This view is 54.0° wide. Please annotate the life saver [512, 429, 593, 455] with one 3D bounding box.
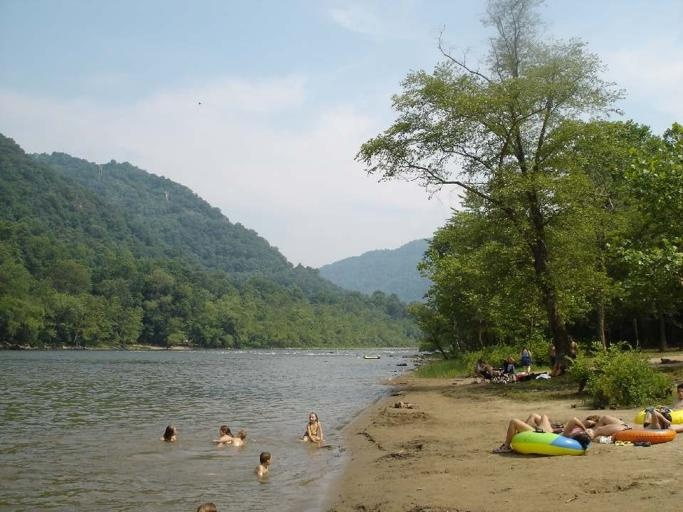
[{"bbox_3d":[7.914,7.306,25.985,2.582,0.885,0.338,-3,-9,17],"label":"life saver"}]
